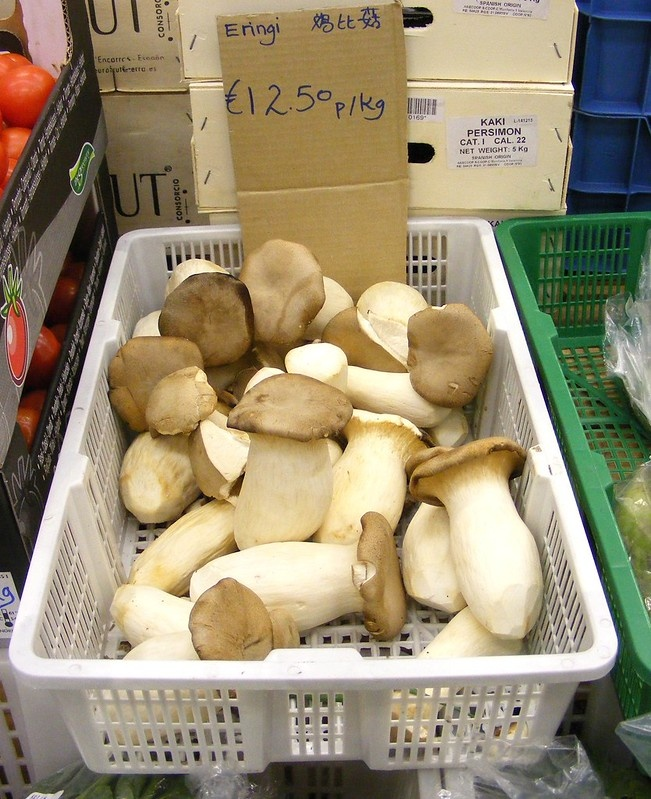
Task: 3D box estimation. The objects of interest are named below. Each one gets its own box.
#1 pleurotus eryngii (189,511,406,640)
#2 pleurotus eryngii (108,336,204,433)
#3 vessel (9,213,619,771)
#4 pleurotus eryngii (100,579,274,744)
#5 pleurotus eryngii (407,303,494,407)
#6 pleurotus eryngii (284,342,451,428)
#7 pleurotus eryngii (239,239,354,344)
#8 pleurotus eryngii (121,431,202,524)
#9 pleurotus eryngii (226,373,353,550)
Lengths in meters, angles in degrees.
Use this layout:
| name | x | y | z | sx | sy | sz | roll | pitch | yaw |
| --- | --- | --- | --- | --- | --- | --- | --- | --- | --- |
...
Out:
| name | x | y | z | sx | sy | sz | roll | pitch | yaw |
| --- | --- | --- | --- | --- | --- | --- | --- | --- | --- |
| pleurotus eryngii | -0.044 | 0.285 | 1.026 | 0.307 | 0.136 | 0.184 | -1 | 47 | -4 |
| pleurotus eryngii | -0.339 | -0.038 | 1.341 | 0.180 | 0.184 | 0.062 | 30 | 16 | 19 |
| vessel | 0.012 | 0.206 | 1.138 | 0.670 | 0.277 | 0.851 | 2 | 33 | 10 |
| pleurotus eryngii | -0.229 | 0.332 | 0.888 | 0.241 | 0.219 | 0.089 | 3 | 3 | 26 |
| pleurotus eryngii | 0.244 | -0.088 | 1.274 | 0.164 | 0.203 | 0.072 | -9 | -2 | 29 |
| pleurotus eryngii | 0.136 | -0.035 | 1.335 | 0.335 | 0.142 | 0.145 | -11 | -4 | 19 |
| pleurotus eryngii | -0.071 | -0.214 | 1.446 | 0.210 | 0.246 | 0.229 | 11 | 14 | -2 |
| pleurotus eryngii | -0.329 | 0.147 | 1.301 | 0.134 | 0.188 | 0.106 | 5 | -7 | 0 |
| pleurotus eryngii | -0.071 | 0.050 | 1.175 | 0.247 | 0.407 | 0.266 | -1 | 28 | -10 |
